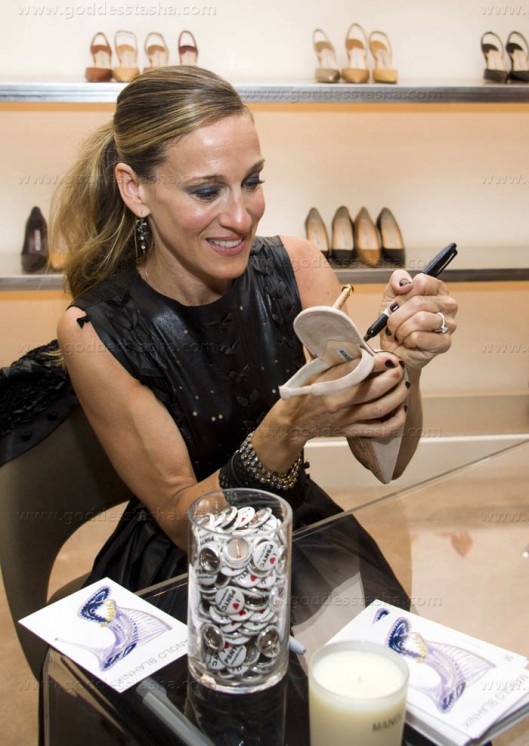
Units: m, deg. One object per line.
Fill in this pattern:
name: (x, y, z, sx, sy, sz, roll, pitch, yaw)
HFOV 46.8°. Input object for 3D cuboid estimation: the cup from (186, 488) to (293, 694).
cup: (-0.019, 0.180, 0.503, 0.084, 0.154, 0.102, 1, 15, -6)

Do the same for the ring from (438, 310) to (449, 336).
ring: (0.258, -0.075, 0.883, 0.012, 0.027, 0.021, -9, -8, 21)

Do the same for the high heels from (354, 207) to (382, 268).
high heels: (0.367, -0.496, 2.256, 0.083, 0.223, 0.062, -8, -18, -5)

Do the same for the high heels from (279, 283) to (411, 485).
high heels: (0.128, 0.027, 0.787, 0.171, 0.255, 0.209, 1, 16, -10)

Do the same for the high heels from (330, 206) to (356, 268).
high heels: (0.285, -0.491, 2.231, 0.083, 0.229, 0.063, -3, -13, 3)

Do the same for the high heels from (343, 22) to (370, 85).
high heels: (0.292, -1.068, 2.083, 0.101, 0.284, 0.112, -1, -28, 6)

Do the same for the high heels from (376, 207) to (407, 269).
high heels: (0.464, -0.493, 2.255, 0.087, 0.238, 0.072, -11, -13, -15)

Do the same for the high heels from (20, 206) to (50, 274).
high heels: (-0.785, -0.457, 2.174, 0.100, 0.302, 0.122, 0, -23, -14)
